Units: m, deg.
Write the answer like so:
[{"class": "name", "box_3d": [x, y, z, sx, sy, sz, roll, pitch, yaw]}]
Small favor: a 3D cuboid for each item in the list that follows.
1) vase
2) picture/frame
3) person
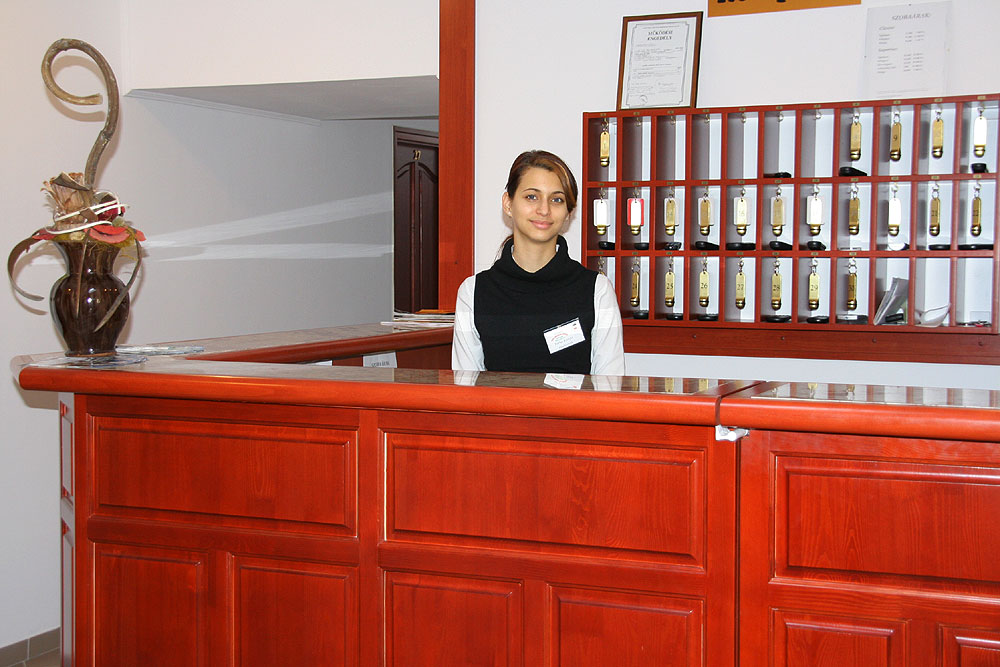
[{"class": "vase", "box_3d": [-1.284, -0.111, 2.591, 0.213, 0.351, 0.125, -2, 8, -28]}, {"class": "picture/frame", "box_3d": [0.823, -1.390, 4.221, 0.544, 0.612, 0.048, 4, -3, 20]}, {"class": "person", "box_3d": [0.132, -0.238, 2.803, 0.515, 0.752, 0.313, 8, 9, 37]}]
